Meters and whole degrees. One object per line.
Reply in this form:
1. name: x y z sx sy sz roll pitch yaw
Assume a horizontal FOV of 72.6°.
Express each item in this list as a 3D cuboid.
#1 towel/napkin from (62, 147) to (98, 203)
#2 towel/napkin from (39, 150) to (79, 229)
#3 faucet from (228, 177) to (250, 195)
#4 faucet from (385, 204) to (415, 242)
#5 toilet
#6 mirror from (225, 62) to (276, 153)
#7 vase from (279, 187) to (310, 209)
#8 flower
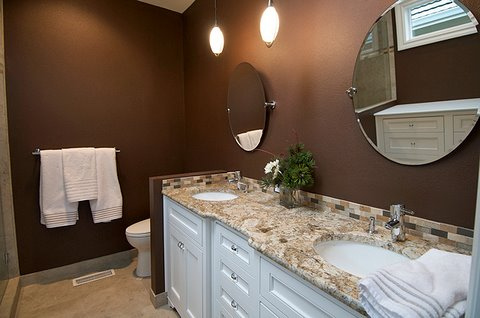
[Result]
1. towel/napkin: -1.690 0.164 3.392 0.335 0.556 0.136 1 -4 -17
2. towel/napkin: -1.935 0.309 3.474 0.324 0.801 0.098 -6 9 -30
3. faucet: -0.015 0.247 3.246 0.196 0.122 0.385 -1 8 -2
4. faucet: 1.010 0.406 2.199 0.233 0.257 0.207 -2 2 -37
5. toilet: -1.123 0.987 3.630 0.246 0.645 0.375 -4 9 -18
6. mirror: 0.114 -0.519 3.217 0.164 1.014 0.902 -2 3 -32
7. vase: 0.447 0.305 2.711 0.225 0.174 0.124 -6 9 -30
8. flower: 0.392 0.078 2.680 0.377 0.252 0.383 0 -1 -21
